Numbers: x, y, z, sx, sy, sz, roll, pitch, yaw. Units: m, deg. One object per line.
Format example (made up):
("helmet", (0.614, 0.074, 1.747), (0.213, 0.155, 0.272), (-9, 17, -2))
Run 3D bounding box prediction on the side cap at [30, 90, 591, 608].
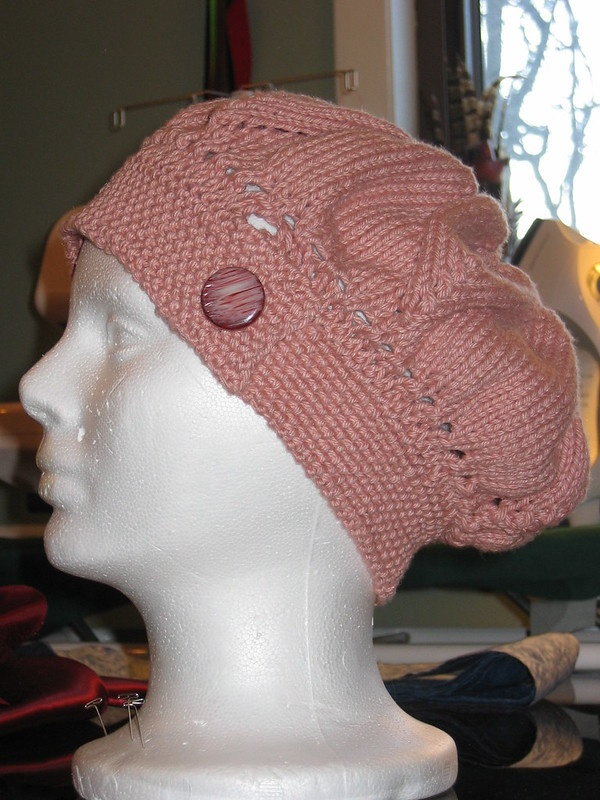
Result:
("side cap", (0.101, -0.075, 1.446), (0.852, 0.506, 0.563), (23, 2, -10))
